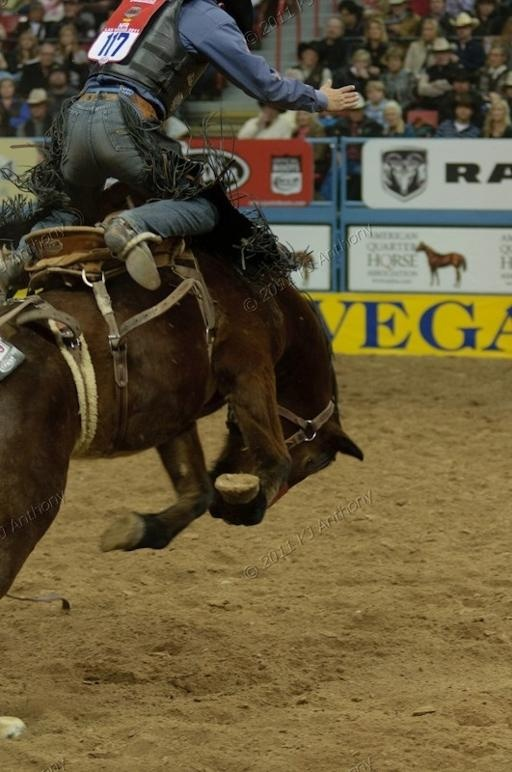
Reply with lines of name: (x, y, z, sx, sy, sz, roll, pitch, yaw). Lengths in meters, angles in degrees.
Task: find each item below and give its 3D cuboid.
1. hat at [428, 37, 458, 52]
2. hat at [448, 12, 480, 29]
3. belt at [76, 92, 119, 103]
hat: (1.618, -2.942, 7.626, 0.160, 0.065, 0.175, -4, -6, 5)
hat: (1.736, -3.029, 7.305, 0.158, 0.140, 0.259, -6, 12, -18)
belt: (-0.557, -1.026, 3.131, 0.111, 0.023, 0.077, -5, -6, 7)
